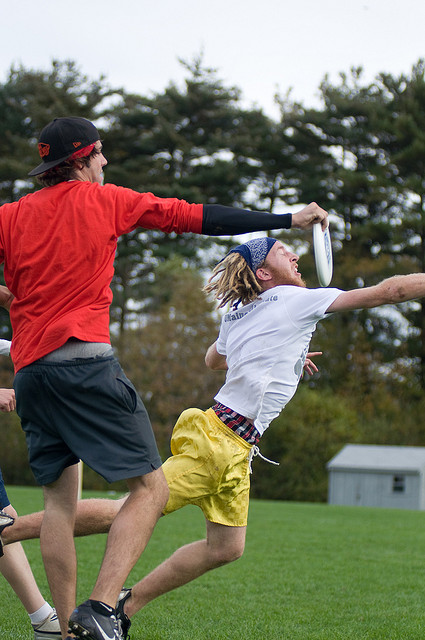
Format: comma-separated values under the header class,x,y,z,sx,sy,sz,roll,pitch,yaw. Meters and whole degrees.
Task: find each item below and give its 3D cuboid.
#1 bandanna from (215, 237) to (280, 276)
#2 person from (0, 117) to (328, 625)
class,x,y,z,sx,sy,sz,roll,pitch,yaw
bandanna,0.179,-0.295,4.396,0.258,0.192,0.162,-4,-7,20
person,-0.372,0.173,3.737,0.929,2.011,0.351,-4,-7,17
